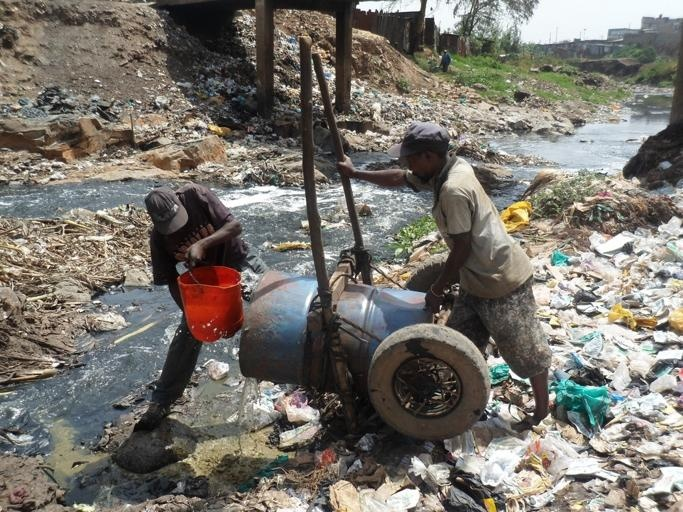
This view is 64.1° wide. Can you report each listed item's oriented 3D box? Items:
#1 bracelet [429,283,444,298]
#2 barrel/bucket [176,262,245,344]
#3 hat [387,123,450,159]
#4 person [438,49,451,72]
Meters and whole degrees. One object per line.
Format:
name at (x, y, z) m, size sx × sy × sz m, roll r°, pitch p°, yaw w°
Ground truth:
bracelet at (0.750, 0.277, 4.357) m, size 0.091 × 0.105 × 0.101 m, roll 11°, pitch 52°, yaw 6°
barrel/bucket at (-1.079, 0.389, 4.547) m, size 0.491 × 0.539 × 0.487 m, roll 2°, pitch 27°, yaw -1°
hat at (0.628, -0.909, 4.339) m, size 0.507 × 0.192 × 0.275 m, roll 2°, pitch 21°, yaw 10°
person at (5.179, -9.693, 27.415) m, size 0.500 × 0.928 × 1.071 m, roll 7°, pitch 26°, yaw 7°
